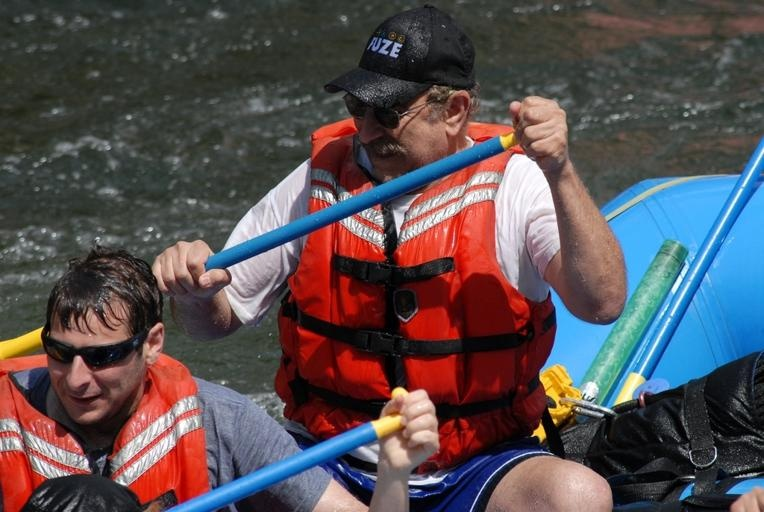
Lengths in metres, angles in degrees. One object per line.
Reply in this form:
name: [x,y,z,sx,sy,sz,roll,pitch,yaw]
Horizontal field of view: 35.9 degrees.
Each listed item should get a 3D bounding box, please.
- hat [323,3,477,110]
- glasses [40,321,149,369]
hat: [0.127,-0.972,5.681,0.719,0.338,0.432,-11,25,-26]
glasses: [-1.262,0.397,5.171,0.455,0.165,0.120,-3,17,-4]
